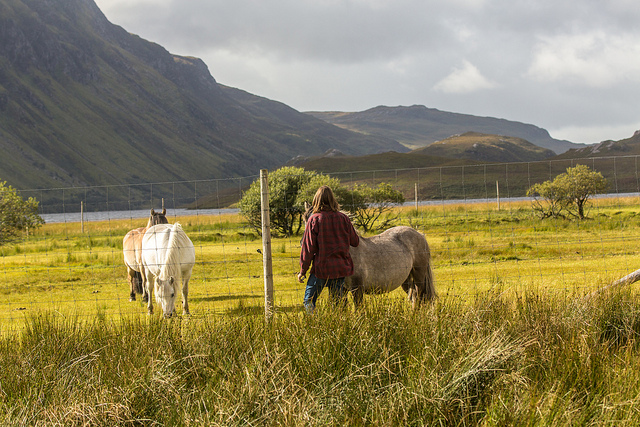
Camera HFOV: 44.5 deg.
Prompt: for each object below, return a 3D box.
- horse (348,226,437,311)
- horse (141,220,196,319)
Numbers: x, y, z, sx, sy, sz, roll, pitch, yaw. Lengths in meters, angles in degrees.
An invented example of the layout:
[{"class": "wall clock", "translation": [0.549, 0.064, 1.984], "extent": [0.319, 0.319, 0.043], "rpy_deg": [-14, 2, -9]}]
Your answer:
[{"class": "horse", "translation": [2.046, 1.430, 21.741], "extent": [2.584, 2.074, 0.836], "rpy_deg": [1, -3, -36]}, {"class": "horse", "translation": [-4.868, 1.732, 24.948], "extent": [1.582, 2.907, 3.540], "rpy_deg": [0, -3, -13]}]
